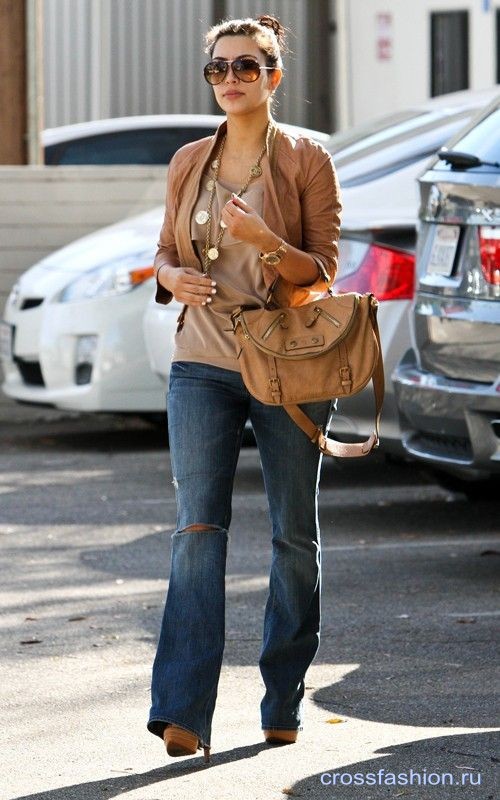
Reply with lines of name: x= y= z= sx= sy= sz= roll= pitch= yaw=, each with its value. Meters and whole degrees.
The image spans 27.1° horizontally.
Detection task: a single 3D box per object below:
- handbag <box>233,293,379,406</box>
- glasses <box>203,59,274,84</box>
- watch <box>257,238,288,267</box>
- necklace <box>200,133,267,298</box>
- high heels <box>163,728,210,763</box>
handbag: x=0.112 y=-0.109 z=2.265 sx=0.247 sy=0.169 sz=0.069 roll=-6 pitch=-14 yaw=-8
glasses: x=-0.025 y=-0.725 z=2.312 sx=0.156 sy=0.064 sz=0.108 roll=0 pitch=3 yaw=0
watch: x=0.043 y=-0.312 z=2.176 sx=0.048 sy=0.051 sz=0.029 roll=21 pitch=27 yaw=-41
necklace: x=-0.066 y=-0.433 z=2.335 sx=0.107 sy=0.331 sz=0.019 roll=13 pitch=-20 yaw=9
high heels: x=-0.114 y=0.716 z=2.128 sx=0.054 sy=0.058 sz=0.134 roll=-10 pitch=-35 yaw=26
